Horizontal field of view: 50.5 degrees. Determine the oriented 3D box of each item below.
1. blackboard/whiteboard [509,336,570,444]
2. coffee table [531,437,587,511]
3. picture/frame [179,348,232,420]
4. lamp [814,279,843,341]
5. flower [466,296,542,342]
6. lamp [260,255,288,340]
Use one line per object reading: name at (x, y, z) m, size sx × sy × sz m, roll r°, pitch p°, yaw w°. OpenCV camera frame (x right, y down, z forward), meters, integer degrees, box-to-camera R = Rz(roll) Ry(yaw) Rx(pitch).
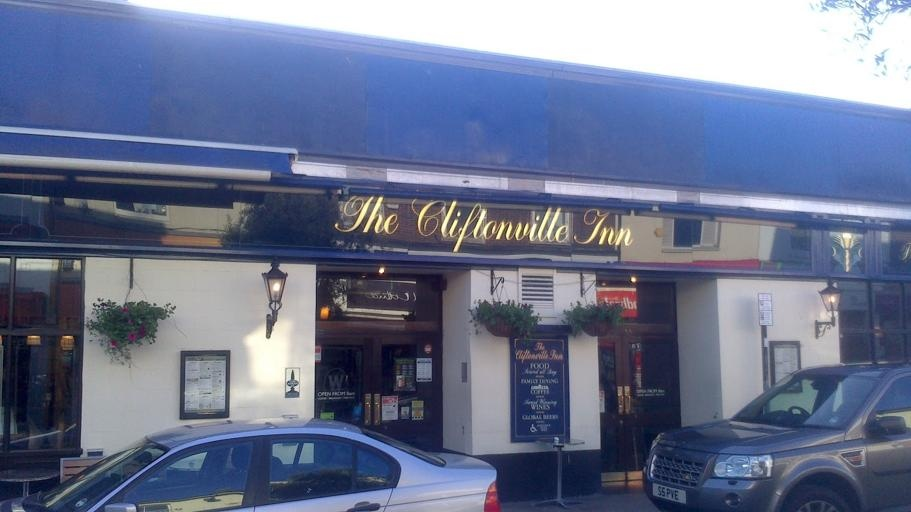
blackboard/whiteboard at (1.790, 2.751, 20.321) m, size 1.183 × 2.167 × 0.726 m, roll -2°, pitch 2°, yaw 14°
coffee table at (2.185, 4.421, 19.805) m, size 0.691 × 1.399 × 0.935 m, roll -8°, pitch -11°, yaw 40°
picture/frame at (-4.805, 2.476, 18.576) m, size 0.875 × 1.267 × 0.230 m, roll 3°, pitch -9°, yaw -21°
lamp at (8.317, 1.197, 21.593) m, size 0.525 × 1.256 × 0.473 m, roll 0°, pitch -9°, yaw -3°
flower at (1.000, 1.269, 19.830) m, size 1.384 × 0.798 × 0.472 m, roll 0°, pitch -9°, yaw -3°
lamp at (-3.501, 0.812, 18.754) m, size 0.442 × 1.572 × 0.428 m, roll -1°, pitch -1°, yaw -21°
